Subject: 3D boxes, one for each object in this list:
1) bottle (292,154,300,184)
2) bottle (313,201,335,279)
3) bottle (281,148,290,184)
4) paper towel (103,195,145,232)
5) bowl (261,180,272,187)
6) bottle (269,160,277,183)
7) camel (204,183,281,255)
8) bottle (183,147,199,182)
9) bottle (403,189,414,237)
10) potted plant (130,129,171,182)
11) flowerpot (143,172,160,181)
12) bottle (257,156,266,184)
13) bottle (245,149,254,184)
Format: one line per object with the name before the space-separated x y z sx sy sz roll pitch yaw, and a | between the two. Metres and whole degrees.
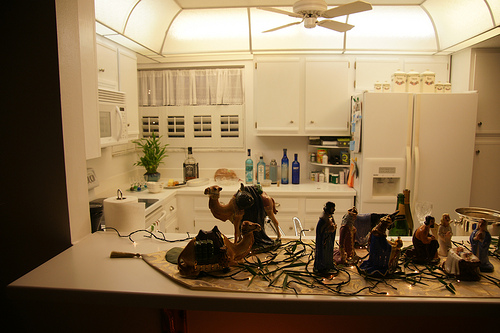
bottle | 0.611 0.031 4.603 0.092 0.377 0.194 1 4 19
bottle | 0.422 0.408 2.024 0.108 0.419 0.159 1 3 14
bottle | 0.462 -0.005 4.638 0.103 0.447 0.273 0 3 8
paper towel | -0.918 0.351 2.721 0.239 0.251 0.310 1 7 -7
bowl | 0.202 0.213 4.439 0.124 0.066 0.157 0 3 3
bottle | 0.299 0.068 4.590 0.103 0.290 0.075 0 3 -1
camel | -0.012 0.323 2.163 0.510 0.384 0.323 6 -9 -26
bottle | -0.771 -0.023 4.643 0.205 0.436 0.376 -1 3 -8
bottle | 1.033 0.311 2.327 0.062 0.346 0.337 1 4 23
potted plant | -1.199 -0.101 4.428 0.471 0.630 0.494 -2 0 -28
flowerpot | -1.176 0.130 4.344 0.109 0.090 0.109 0 11 -6
bottle | 0.149 0.041 4.564 0.095 0.328 0.279 0 3 9
bottle | -0.004 -0.003 4.631 0.117 0.436 0.294 0 3 0
